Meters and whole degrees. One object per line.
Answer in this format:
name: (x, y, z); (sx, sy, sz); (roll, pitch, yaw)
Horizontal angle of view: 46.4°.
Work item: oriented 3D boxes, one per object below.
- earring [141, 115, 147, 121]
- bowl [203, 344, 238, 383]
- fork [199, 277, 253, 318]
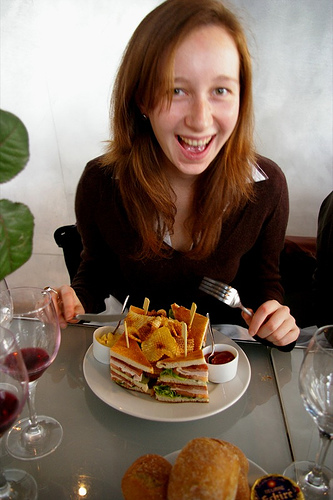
earring: (-0.080, -0.454, 1.328); (0.018, 0.004, 0.018); (-4, 61, 7)
bowl: (0.136, 0.274, 0.953); (0.070, 0.048, 0.077); (-9, 13, -3)
fork: (0.201, 0.166, 1.195); (0.295, 0.066, 0.051); (36, 13, -48)
